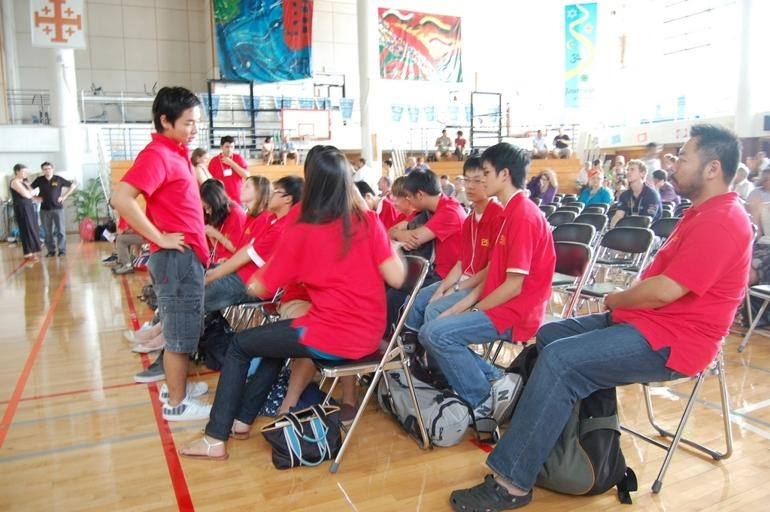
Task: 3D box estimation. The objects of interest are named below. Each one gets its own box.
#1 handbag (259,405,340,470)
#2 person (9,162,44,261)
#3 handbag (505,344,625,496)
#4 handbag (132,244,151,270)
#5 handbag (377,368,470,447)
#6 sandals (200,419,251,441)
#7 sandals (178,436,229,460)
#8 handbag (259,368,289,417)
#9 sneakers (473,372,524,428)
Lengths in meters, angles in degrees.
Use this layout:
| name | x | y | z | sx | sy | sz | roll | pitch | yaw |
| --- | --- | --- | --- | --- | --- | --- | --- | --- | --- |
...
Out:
| name | x | y | z | sx | sy | sz | roll | pitch | yaw |
| --- | --- | --- | --- | --- | --- | --- | --- | --- | --- |
| handbag | -0.515 | 1.113 | 3.333 | 0.522 | 0.340 | 0.340 | -9 | 15 | -19 |
| person | -6.633 | -0.824 | 9.734 | 0.378 | 1.738 | 0.810 | -8 | 13 | -34 |
| handbag | 1.004 | 1.006 | 3.390 | 0.578 | 0.961 | 0.923 | -3 | -2 | -38 |
| handbag | -3.577 | 0.018 | 7.703 | 0.132 | 0.341 | 0.258 | 16 | -21 | -32 |
| handbag | 0.240 | 1.009 | 3.526 | 0.564 | 0.261 | 0.383 | 32 | 56 | 33 |
| sandals | -1.070 | 1.173 | 3.558 | 0.272 | 0.127 | 0.119 | 6 | -3 | -5 |
| sandals | -1.163 | 1.246 | 3.356 | 0.264 | 0.109 | 0.147 | 7 | -2 | 1 |
| handbag | -0.782 | 1.001 | 3.822 | 0.110 | 0.312 | 0.231 | 20 | -6 | -24 |
| sneakers | 0.754 | 0.975 | 3.563 | 0.211 | 0.514 | 0.175 | 27 | -20 | 14 |
